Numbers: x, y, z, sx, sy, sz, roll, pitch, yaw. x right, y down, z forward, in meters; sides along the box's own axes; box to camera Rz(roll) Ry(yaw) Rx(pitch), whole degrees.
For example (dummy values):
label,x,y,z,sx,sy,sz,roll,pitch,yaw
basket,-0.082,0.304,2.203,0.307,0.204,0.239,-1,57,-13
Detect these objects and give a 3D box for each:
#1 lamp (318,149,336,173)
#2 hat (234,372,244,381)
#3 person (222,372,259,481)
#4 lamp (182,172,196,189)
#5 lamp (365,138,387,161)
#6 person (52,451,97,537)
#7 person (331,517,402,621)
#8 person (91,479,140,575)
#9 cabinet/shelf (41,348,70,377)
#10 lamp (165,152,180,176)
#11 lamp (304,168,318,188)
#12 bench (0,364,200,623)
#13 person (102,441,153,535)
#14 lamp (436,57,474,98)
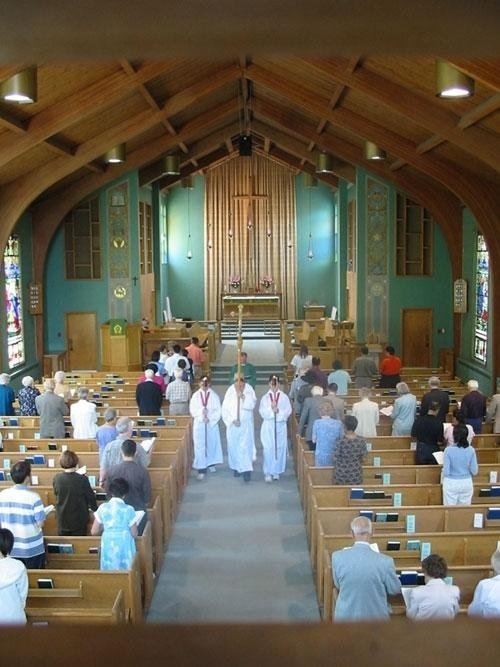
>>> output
label,x,y,z,sx,sy,sz,roll,pitch,yaw
lamp,2.328,-5.395,17.993,0.701,0.743,0.683,-1,1,1
hat,-0.174,0.662,8.750,0.141,0.086,0.176,3,-26,-1
person,-0.176,1.465,9.086,0.454,1.833,0.624,6,11,34
lamp,-2.560,-6.383,23.819,0.649,0.652,0.622,-1,7,-3
lamp,3.131,-4.544,14.070,0.511,0.549,0.495,-3,5,-1
person,-1.808,1.802,5.967,0.432,1.172,0.372,0,9,6
person,0.844,1.712,4.124,0.433,0.777,0.351,8,12,40
person,-1.233,1.762,5.087,0.371,0.926,0.318,0,16,-21
cabinet/shelf,-5.831,0.862,17.006,0.281,0.686,0.768,0,14,-3
lamp,-2.525,-5.457,18.331,0.472,0.570,0.393,-2,9,-10
lamp,2.522,-6.547,23.923,0.746,0.783,0.729,-1,4,4
bench,-1.488,1.958,6.473,1.493,0.533,3.647,1,9,-1
person,-1.190,1.699,6.002,0.457,1.241,0.358,-2,23,3
lamp,2.556,-3.165,7.240,0.460,0.494,0.509,1,-10,2
